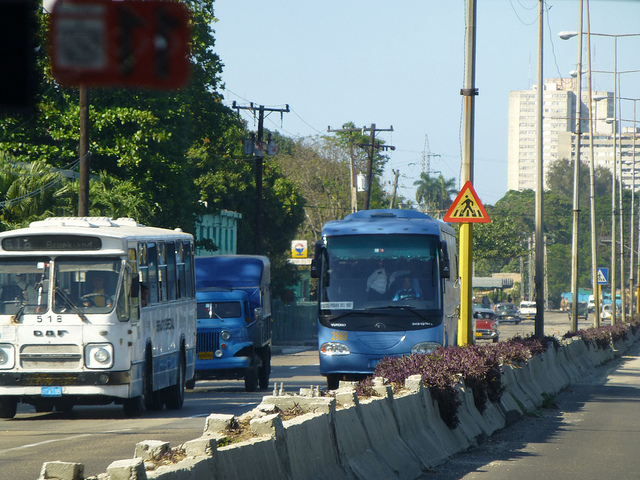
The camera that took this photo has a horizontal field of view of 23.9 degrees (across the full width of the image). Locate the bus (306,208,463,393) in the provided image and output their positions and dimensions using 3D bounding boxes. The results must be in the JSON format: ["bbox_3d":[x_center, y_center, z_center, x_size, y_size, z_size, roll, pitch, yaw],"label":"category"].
[{"bbox_3d":[1.488,1.267,34.499,3.164,4.040,2.873,-1,-3,2],"label":"bus"}]

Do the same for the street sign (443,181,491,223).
[{"bbox_3d":[3.097,-0.814,31.852,0.910,0.847,0.668,-1,-4,5],"label":"street sign"}]

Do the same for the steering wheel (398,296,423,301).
[{"bbox_3d":[2.057,1.240,33.773,0.445,0.074,0.039,-1,-3,3],"label":"steering wheel"}]

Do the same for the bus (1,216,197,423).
[{"bbox_3d":[-4.254,1.503,31.193,2.423,4.232,4.603,-2,-4,30],"label":"bus"}]

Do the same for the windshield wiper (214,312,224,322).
[{"bbox_3d":[-2.449,1.826,37.153,0.308,0.041,0.040,41,-4,18],"label":"windshield wiper"}]

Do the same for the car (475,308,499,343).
[{"bbox_3d":[7.245,3.525,64.790,1.116,1.037,2.045,0,-3,5],"label":"car"}]

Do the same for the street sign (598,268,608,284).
[{"bbox_3d":[11.750,1.410,62.634,0.025,0.679,0.635,-3,0,29],"label":"street sign"}]

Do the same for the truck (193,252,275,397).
[{"bbox_3d":[-2.364,1.941,38.540,1.480,2.292,3.754,-1,-3,4],"label":"truck"}]
